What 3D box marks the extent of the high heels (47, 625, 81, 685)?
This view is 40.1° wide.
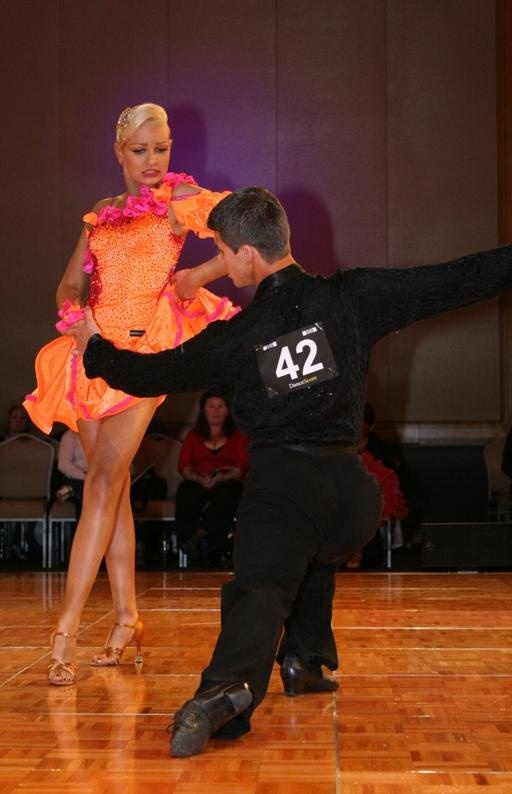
[{"bbox_3d":[-0.503,0.699,1.873,0.058,0.068,0.178,0,-7,-8],"label":"high heels"}]

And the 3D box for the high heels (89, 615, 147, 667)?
[{"bbox_3d":[-0.406,0.742,2.143,0.187,0.137,0.104,5,-10,-20],"label":"high heels"}]

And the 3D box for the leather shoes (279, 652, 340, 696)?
[{"bbox_3d":[0.123,0.677,1.725,0.070,0.075,0.186,-3,-12,35],"label":"leather shoes"}]

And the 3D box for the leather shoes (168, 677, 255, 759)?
[{"bbox_3d":[-0.083,0.551,1.237,0.191,0.094,0.070,-21,-33,-18],"label":"leather shoes"}]
